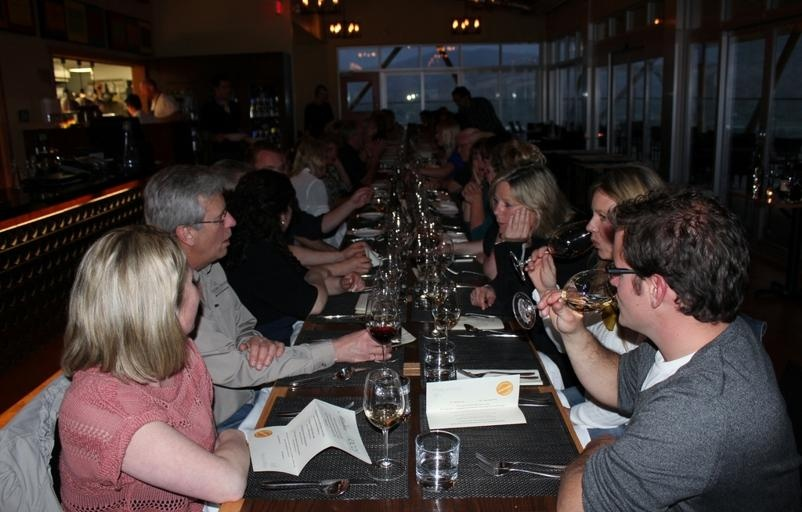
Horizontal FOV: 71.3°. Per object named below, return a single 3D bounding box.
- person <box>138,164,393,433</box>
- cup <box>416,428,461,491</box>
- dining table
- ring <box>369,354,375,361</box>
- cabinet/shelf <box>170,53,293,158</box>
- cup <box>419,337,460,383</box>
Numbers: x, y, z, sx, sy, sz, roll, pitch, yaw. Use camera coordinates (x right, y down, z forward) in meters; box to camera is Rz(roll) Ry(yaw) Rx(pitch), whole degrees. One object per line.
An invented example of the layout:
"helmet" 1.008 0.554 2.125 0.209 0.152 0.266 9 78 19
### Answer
"person" -0.545 0.159 2.453 1.061 1.093 0.615 3 37 5
"cup" 0.104 0.576 1.606 0.131 0.112 0.173 0 16 7
"dining table" 0.001 0.287 2.275 1.098 0.378 1.578 0 17 1
"ring" -0.110 0.390 2.142 0.019 0.009 0.024 6 6 13
"cabinet/shelf" -2.752 -2.521 9.461 1.813 1.788 0.638 -9 28 -17
"cup" 0.147 0.392 2.137 0.139 0.155 0.138 -1 8 0
